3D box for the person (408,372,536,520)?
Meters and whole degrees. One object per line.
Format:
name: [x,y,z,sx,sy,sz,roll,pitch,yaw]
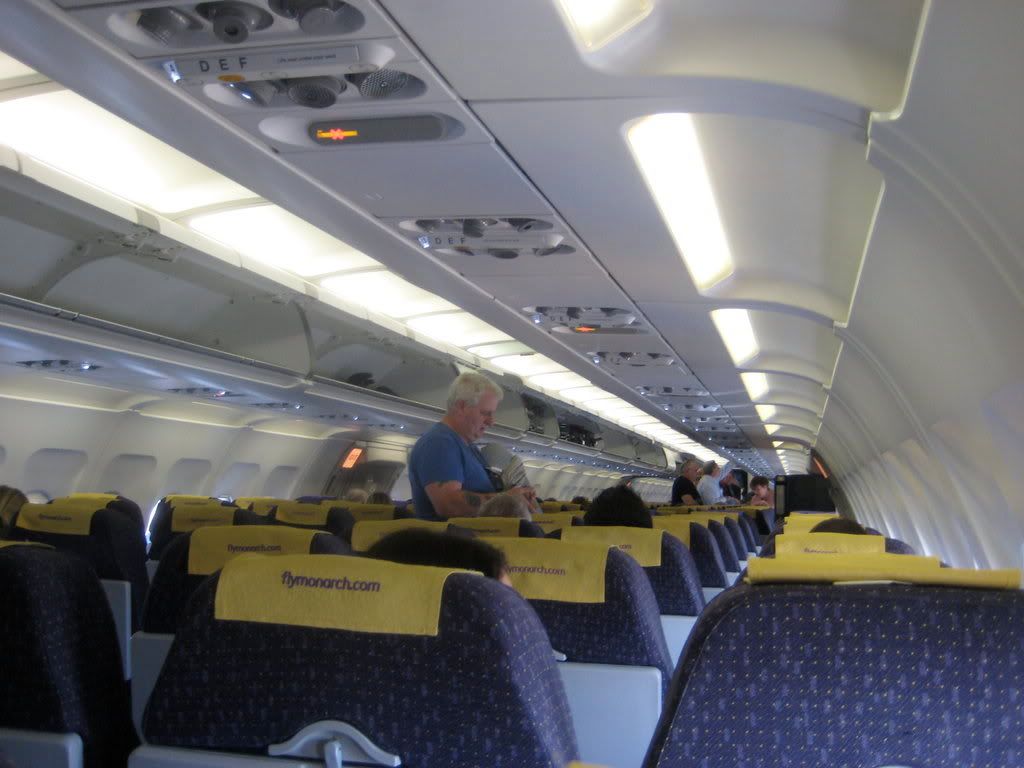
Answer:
person: [-0.277,0.494,5.359,0.769,1.129,0.656,4,-22,-14]
